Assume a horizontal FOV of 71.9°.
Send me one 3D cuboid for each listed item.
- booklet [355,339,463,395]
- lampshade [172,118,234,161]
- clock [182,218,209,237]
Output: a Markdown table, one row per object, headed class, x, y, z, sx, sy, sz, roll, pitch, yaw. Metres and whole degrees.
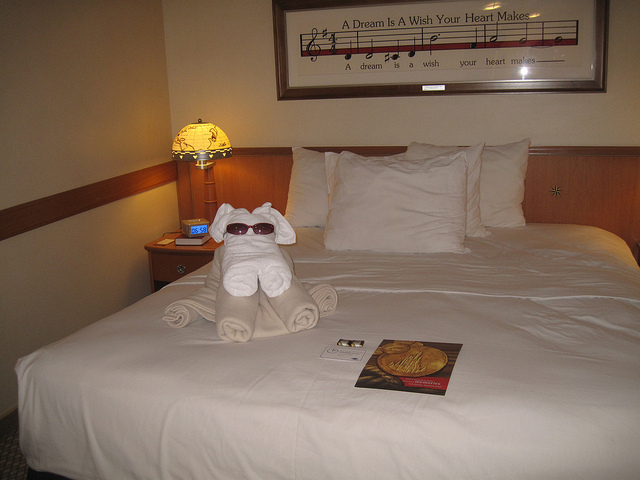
| class | x | y | z | sx | sy | sz | roll | pitch | yaw |
| --- | --- | --- | --- | --- | --- | --- | --- | --- | --- |
| booklet | 0.283 | 0.382 | 1.376 | 0.287 | 0.053 | 0.288 | 5 | 13 | 19 |
| lampshade | -0.791 | -0.661 | 2.949 | 0.382 | 0.267 | 0.172 | -4 | 14 | -20 |
| clock | -0.831 | -0.103 | 2.933 | 0.134 | 0.091 | 0.136 | -5 | 11 | -32 |
